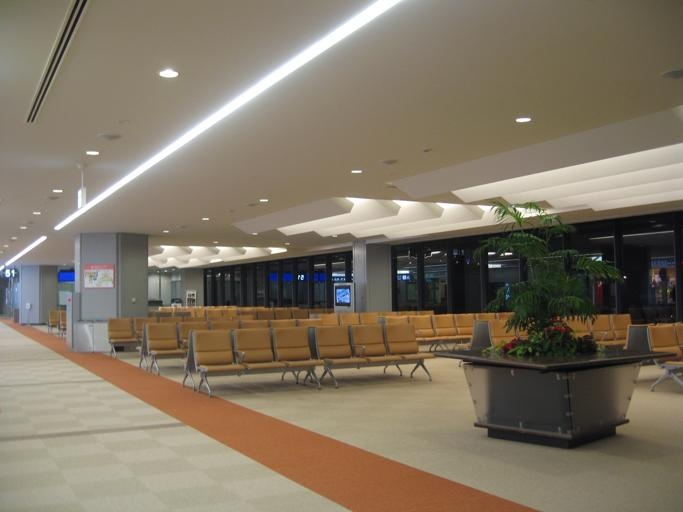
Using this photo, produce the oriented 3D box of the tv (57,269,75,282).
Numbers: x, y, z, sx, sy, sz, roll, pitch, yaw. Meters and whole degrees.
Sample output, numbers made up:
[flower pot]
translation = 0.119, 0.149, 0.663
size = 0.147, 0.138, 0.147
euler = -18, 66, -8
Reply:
[tv]
translation = -24.305, 1.786, 40.477
size = 0.998, 0.745, 0.547
euler = 3, -8, -27
